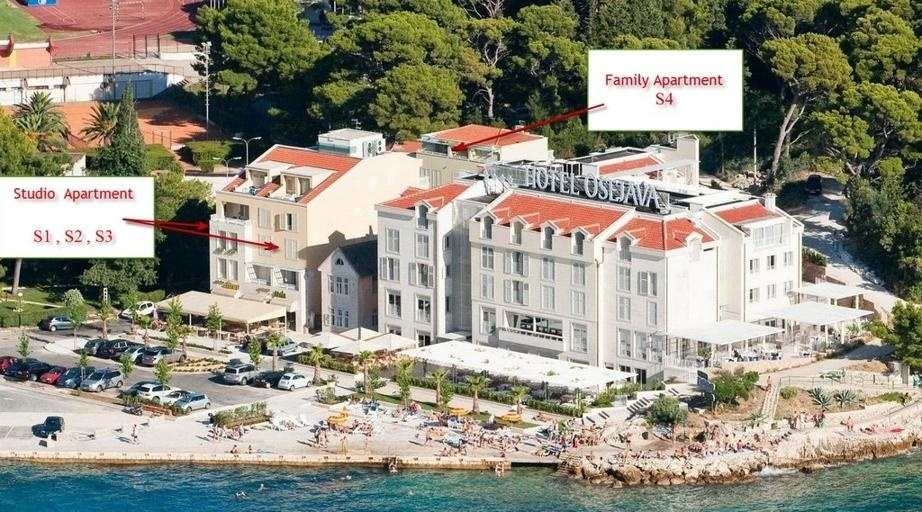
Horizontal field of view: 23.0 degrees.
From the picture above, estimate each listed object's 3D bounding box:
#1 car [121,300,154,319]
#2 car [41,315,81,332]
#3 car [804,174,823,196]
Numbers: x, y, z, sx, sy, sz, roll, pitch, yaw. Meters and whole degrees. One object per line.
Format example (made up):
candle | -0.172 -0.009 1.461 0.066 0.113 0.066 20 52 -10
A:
car | -53.022 9.100 378.437 4.969 2.198 2.848 -4 7 -40
car | -66.471 11.162 375.398 4.523 2.645 1.982 -5 4 -23
car | 62.540 -12.328 403.042 2.583 3.399 1.043 -4 4 -5
